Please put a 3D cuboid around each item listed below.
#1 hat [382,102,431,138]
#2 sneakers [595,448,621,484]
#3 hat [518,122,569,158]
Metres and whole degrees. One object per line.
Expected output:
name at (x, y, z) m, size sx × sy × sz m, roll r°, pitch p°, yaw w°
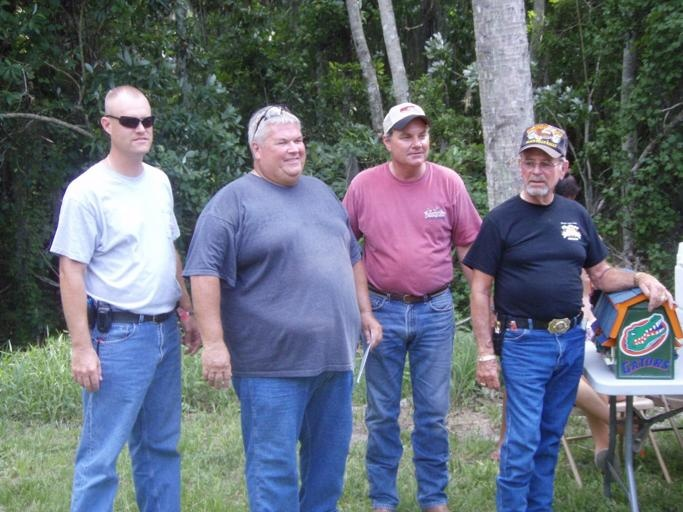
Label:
hat at (0.528, -1.121, 6.322) m, size 0.328 × 0.236 × 0.450 m, roll -7°, pitch 6°, yaw 4°
sneakers at (2.182, 1.705, 6.450) m, size 0.112 × 0.379 × 0.141 m, roll -17°, pitch -9°, yaw 32°
hat at (1.538, -0.857, 6.030) m, size 0.389 × 0.293 × 0.561 m, roll 7°, pitch 2°, yaw 18°
